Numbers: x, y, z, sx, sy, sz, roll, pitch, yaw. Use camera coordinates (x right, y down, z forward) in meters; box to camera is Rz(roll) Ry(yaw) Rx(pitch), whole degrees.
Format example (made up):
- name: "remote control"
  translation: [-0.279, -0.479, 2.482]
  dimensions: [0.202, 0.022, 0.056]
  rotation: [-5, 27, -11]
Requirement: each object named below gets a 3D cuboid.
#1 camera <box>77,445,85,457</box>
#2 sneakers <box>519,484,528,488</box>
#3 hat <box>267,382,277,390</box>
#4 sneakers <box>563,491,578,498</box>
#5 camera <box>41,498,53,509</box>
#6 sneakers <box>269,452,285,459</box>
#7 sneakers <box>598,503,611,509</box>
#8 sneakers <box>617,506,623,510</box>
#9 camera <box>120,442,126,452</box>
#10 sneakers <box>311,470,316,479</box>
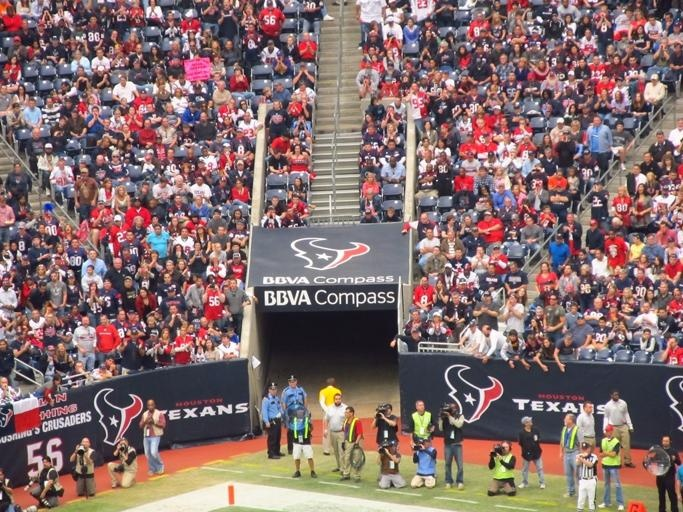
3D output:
- name: "camera"
  translation: [-7.324, 5.469, 42.138]
  dimensions: [0.220, 0.253, 0.225]
  rotation: [4, 6, 39]
- name: "sneakers"
  translation: [5.065, 6.329, 41.549]
  dimensions: [0.222, 0.147, 0.154]
  rotation: [1, 5, 6]
- name: "hat"
  translation: [-2.002, 3.846, 43.913]
  dimensions: [0.270, 0.194, 0.340]
  rotation: [-1, 3, -14]
- name: "sneakers"
  translation: [6.248, 6.504, 40.964]
  dimensions: [0.326, 0.141, 0.122]
  rotation: [2, 7, 9]
- name: "camera"
  translation: [-8.091, 6.808, 41.335]
  dimensions: [0.279, 0.146, 0.209]
  rotation: [18, 4, -1]
- name: "sneakers"
  translation: [-1.917, 5.886, 44.348]
  dimensions: [0.504, 0.216, 0.160]
  rotation: [-5, 0, 2]
- name: "sneakers"
  translation: [7.074, 6.706, 40.333]
  dimensions: [0.279, 0.123, 0.121]
  rotation: [3, 10, 16]
- name: "sneakers"
  translation: [7.488, 6.722, 40.078]
  dimensions: [0.164, 0.091, 0.181]
  rotation: [1, 5, 5]
- name: "camera"
  translation: [-6.168, 5.388, 42.410]
  dimensions: [0.120, 0.219, 0.217]
  rotation: [2, 6, -7]
- name: "sneakers"
  translation: [-0.795, 6.210, 42.719]
  dimensions: [0.161, 0.186, 0.479]
  rotation: [-2, -6, -12]
